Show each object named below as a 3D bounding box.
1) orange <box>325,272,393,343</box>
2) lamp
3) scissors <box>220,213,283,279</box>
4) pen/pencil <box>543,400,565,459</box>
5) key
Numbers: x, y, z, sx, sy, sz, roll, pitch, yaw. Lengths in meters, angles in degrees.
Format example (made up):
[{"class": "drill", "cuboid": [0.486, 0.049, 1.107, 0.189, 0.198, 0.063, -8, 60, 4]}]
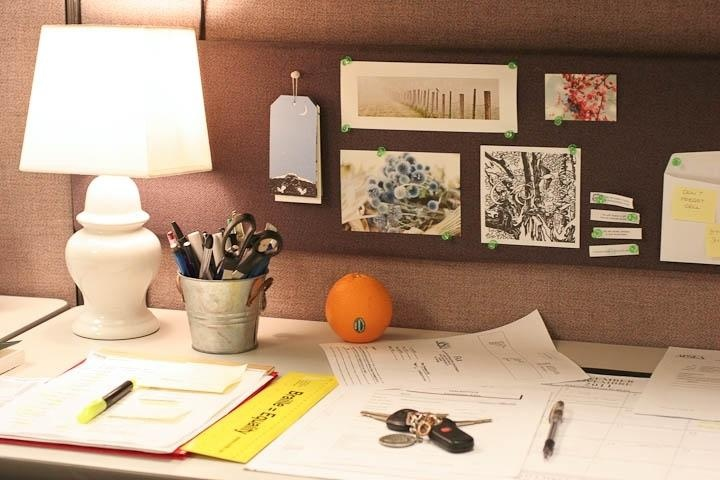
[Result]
[{"class": "orange", "cuboid": [0.006, 0.132, 1.233, 0.160, 0.141, 0.190, 9, 18, 19]}, {"class": "lamp", "cuboid": [-0.532, -0.122, 1.203, 0.394, 0.684, 0.253, -4, 14, -11]}, {"class": "scissors", "cuboid": [-0.224, 0.009, 1.120, 0.163, 0.130, 0.035, 20, 7, -19]}, {"class": "pen/pencil", "cuboid": [0.311, 0.303, 0.867, 0.026, 0.019, 0.158, 12, 16, 17]}, {"class": "key", "cuboid": [0.102, 0.304, 0.871, 0.220, 0.026, 0.097, 1, 11, 8]}]
